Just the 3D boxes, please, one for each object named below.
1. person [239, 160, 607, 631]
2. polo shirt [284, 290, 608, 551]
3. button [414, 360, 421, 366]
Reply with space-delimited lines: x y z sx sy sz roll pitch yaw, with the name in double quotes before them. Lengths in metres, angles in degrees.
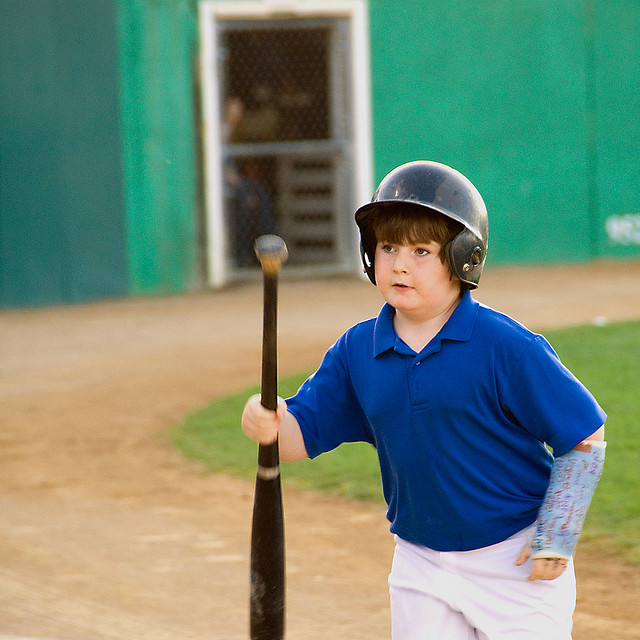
"person" 0.372 0.250 4.088 0.884 1.383 0.402 8 17 30
"polo shirt" 0.395 0.282 4.210 0.993 0.766 0.524 -2 10 28
"button" 0.284 0.129 4.031 0.016 0.013 0.003 1 15 3
